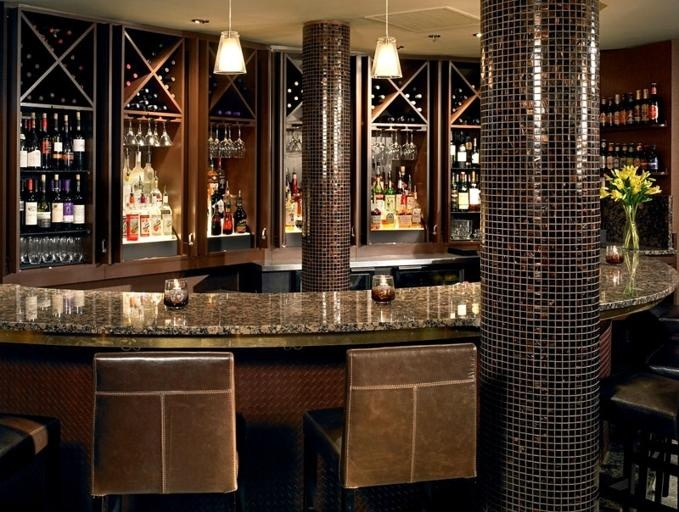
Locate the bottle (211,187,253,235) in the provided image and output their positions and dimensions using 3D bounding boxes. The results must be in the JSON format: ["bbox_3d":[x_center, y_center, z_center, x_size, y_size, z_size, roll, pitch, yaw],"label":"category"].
[{"bbox_3d":[-0.986,-0.402,5.642,0.450,0.604,0.170,-1,0,-41],"label":"bottle"}]

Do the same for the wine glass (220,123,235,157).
[{"bbox_3d":[-1.016,-1.043,5.554,0.119,0.273,0.283,-2,9,-10],"label":"wine glass"}]

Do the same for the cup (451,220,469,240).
[{"bbox_3d":[1.219,-0.269,6.343,0.203,0.269,0.200,-1,1,0],"label":"cup"}]

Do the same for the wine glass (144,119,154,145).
[{"bbox_3d":[-1.586,-1.046,5.150,0.075,0.214,0.255,-3,9,-17],"label":"wine glass"}]

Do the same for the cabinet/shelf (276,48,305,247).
[{"bbox_3d":[-0.463,-1.002,5.823,0.208,1.765,0.481,0,8,-3],"label":"cabinet/shelf"}]

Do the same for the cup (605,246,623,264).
[{"bbox_3d":[1.837,-0.010,4.156,0.121,0.117,0.122,0,0,0],"label":"cup"}]

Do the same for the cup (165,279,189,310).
[{"bbox_3d":[-0.739,0.183,2.859,0.123,0.129,0.124,0,-1,0],"label":"cup"}]

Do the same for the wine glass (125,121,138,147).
[{"bbox_3d":[-1.731,-1.029,5.122,0.079,0.208,0.321,-3,10,-18],"label":"wine glass"}]

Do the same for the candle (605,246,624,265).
[{"bbox_3d":[1.856,-0.013,4.162,0.110,0.127,0.192,4,10,23],"label":"candle"}]

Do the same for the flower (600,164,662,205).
[{"bbox_3d":[2.624,-0.646,5.495,0.535,0.466,0.543,-3,-2,19],"label":"flower"}]

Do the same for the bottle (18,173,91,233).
[{"bbox_3d":[-2.136,-0.401,4.575,0.451,0.423,0.158,-3,5,-45],"label":"bottle"}]

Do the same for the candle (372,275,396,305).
[{"bbox_3d":[0.199,0.159,2.978,0.123,0.121,0.124,1,0,21],"label":"candle"}]

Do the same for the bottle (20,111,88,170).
[{"bbox_3d":[-2.132,-0.860,4.552,0.157,0.453,0.479,4,5,44],"label":"bottle"}]

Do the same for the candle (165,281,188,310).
[{"bbox_3d":[-0.738,0.181,2.841,0.118,0.117,0.119,-1,0,30],"label":"candle"}]

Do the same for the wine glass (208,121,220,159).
[{"bbox_3d":[-1.126,-1.033,5.521,0.099,0.289,0.324,-2,9,-12],"label":"wine glass"}]

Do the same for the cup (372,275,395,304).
[{"bbox_3d":[0.209,0.153,2.967,0.115,0.128,0.163,1,9,4],"label":"cup"}]

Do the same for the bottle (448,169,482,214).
[{"bbox_3d":[1.280,-0.674,6.314,0.299,0.416,0.164,0,8,1],"label":"bottle"}]
